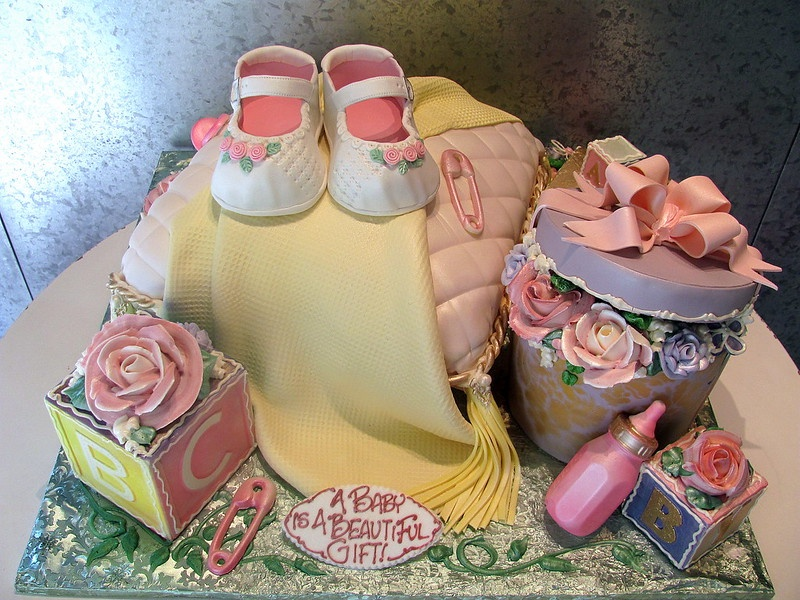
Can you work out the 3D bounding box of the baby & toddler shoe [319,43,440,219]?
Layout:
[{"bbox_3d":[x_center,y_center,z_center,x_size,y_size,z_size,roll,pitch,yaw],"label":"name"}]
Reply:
[{"bbox_3d":[-0.058,-0.360,1.518,0.242,0.151,0.449,-9,55,-9],"label":"baby & toddler shoe"}]

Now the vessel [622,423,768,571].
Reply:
[{"bbox_3d":[0.622,0.400,1.438,0.213,0.253,0.222,32,50,29],"label":"vessel"}]

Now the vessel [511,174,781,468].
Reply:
[{"bbox_3d":[0.458,0.055,1.470,0.485,0.624,0.360,33,47,25],"label":"vessel"}]

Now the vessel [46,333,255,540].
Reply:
[{"bbox_3d":[-0.530,0.262,1.483,0.329,0.280,0.304,28,45,20],"label":"vessel"}]
